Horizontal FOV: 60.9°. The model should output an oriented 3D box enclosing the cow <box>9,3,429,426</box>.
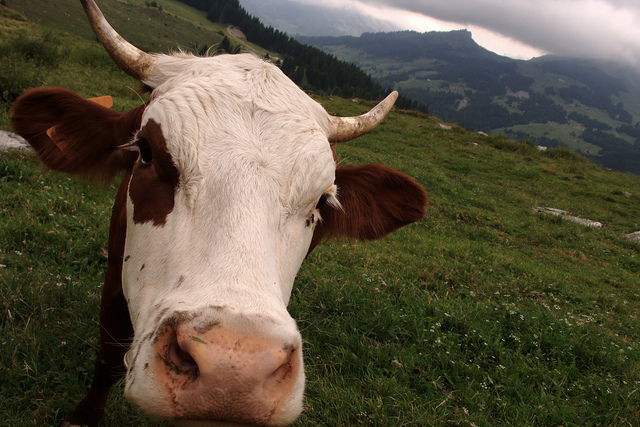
[{"bbox_3d":[-1.951,0.770,8.121,2.329,5.855,5.202,2,34,-48],"label":"cow"}]
